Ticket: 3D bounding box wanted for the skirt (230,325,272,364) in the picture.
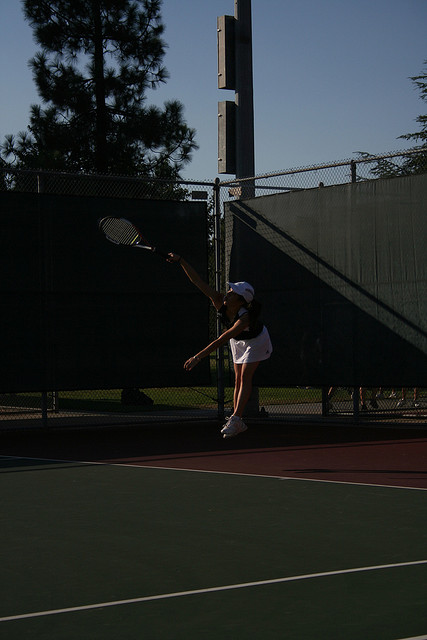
[{"bbox_3d":[0.394,0.327,7.124,0.302,0.490,0.454,1,-5,-25],"label":"skirt"}]
